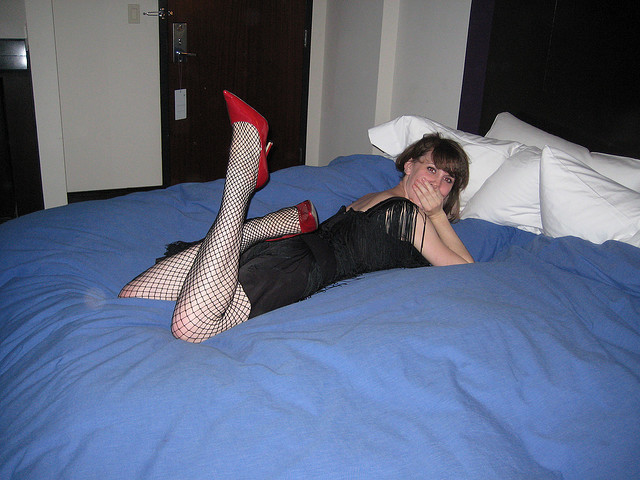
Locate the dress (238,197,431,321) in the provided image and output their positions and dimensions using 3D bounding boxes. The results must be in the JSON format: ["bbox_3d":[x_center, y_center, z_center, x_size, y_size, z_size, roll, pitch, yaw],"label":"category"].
[{"bbox_3d":[0.043,0.024,1.900,0.942,0.423,0.314,-7,32,-16],"label":"dress"}]

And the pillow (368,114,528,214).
[{"bbox_3d":[0.631,-0.511,2.551,0.565,0.180,0.562,27,60,23],"label":"pillow"}]

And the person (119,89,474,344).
[{"bbox_3d":[-0.049,-0.026,2.054,1.340,0.779,0.733,-13,45,-21],"label":"person"}]

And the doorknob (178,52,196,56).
[{"bbox_3d":[-1.014,-1.414,3.724,0.129,0.024,0.033,-11,29,-29],"label":"doorknob"}]
